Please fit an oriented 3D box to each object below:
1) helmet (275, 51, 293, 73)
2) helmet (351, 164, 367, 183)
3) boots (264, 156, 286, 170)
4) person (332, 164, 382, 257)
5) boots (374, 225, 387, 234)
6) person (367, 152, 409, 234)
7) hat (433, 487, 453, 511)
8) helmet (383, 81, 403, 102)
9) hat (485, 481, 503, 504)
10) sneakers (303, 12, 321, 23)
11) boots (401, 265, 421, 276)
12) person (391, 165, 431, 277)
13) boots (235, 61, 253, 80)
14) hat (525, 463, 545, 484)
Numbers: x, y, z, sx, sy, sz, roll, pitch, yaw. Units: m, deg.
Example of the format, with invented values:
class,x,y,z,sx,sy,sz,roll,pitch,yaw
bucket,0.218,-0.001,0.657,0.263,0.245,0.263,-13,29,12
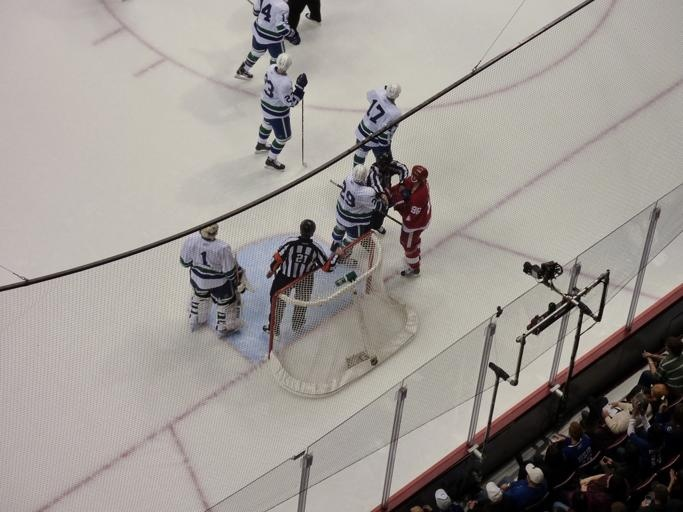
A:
class,x,y,z,sx,sy,sz,roll,pitch,yaw
helmet,-0.742,-2.448,17.626,0.195,0.223,0.230,2,-38,-7
helmet,0.205,-0.942,15.981,0.171,0.189,0.205,9,2,3
boots,-0.873,-1.194,18.210,0.317,0.103,0.175,8,-37,-2
person,0.167,-0.536,16.188,0.373,0.463,1.079,-38,-10,-21
boots,0.471,-0.323,16.943,0.178,0.055,0.071,22,-29,17
person,0.537,-0.743,16.431,0.416,0.414,0.919,25,-18,11
hat,1.056,2.556,14.780,0.155,0.234,0.282,-20,-25,1
helmet,0.625,-2.041,17.157,0.189,0.221,0.233,10,-29,4
hat,1.587,2.467,14.684,0.165,0.231,0.223,-19,-25,0
sneakers,-0.442,-3.498,20.671,0.105,0.274,0.107,-54,-22,-13
boots,0.804,0.183,16.599,0.277,0.080,0.174,1,-37,-1
person,0.811,-0.415,16.476,0.622,0.552,1.381,9,-45,10
boots,-1.350,-2.558,19.491,0.355,0.134,0.304,-5,-34,-15
hat,2.005,2.258,14.704,0.178,0.254,0.198,-21,-26,3
